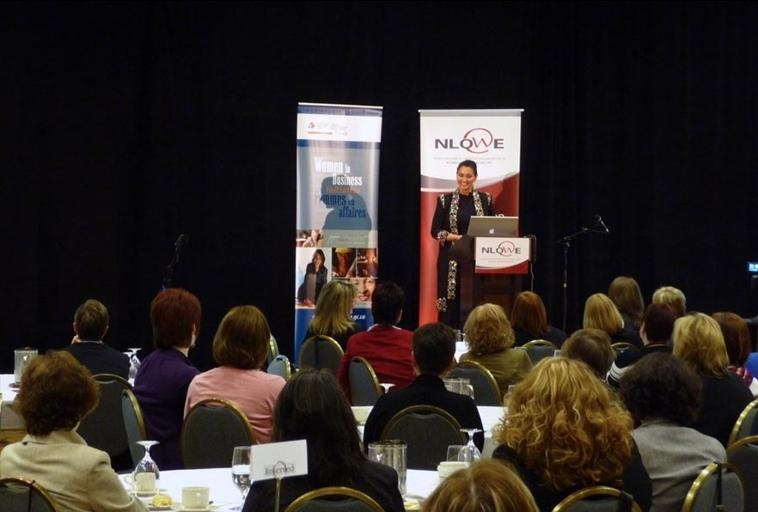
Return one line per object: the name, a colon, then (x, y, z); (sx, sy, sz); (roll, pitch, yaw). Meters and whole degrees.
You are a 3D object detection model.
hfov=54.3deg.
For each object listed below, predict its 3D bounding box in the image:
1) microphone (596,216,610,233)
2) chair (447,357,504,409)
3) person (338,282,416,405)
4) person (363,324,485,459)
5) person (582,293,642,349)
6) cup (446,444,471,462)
microphone: (3.202, -0.454, 10.481); (0.155, 0.254, 0.409); (-1, -4, 19)
chair: (0.800, 0.967, 5.845); (0.305, 0.596, 0.370); (1, 3, 20)
person: (0.067, 0.715, 6.367); (0.810, 1.323, 0.782); (3, 0, 2)
person: (0.311, 1.007, 4.791); (0.695, 1.114, 0.556); (6, 3, 10)
person: (2.128, 0.602, 6.731); (0.681, 0.311, 0.519); (18, 1, -13)
cup: (0.452, 1.100, 4.140); (0.090, 0.097, 0.097); (-1, -3, 0)
